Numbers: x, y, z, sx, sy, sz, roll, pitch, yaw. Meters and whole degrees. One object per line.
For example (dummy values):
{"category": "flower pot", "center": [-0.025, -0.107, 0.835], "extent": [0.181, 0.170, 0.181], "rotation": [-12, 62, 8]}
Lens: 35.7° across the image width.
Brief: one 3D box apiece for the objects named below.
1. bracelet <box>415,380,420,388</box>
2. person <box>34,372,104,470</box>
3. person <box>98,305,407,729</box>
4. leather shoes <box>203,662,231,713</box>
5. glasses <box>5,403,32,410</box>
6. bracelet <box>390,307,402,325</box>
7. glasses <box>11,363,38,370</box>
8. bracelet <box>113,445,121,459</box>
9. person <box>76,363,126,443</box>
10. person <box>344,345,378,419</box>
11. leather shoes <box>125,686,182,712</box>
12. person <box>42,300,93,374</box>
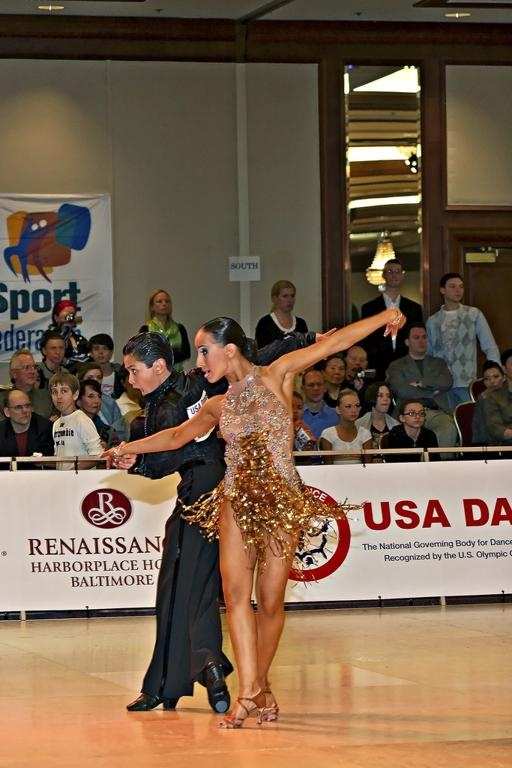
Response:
{"category": "bracelet", "center": [1.528, 0.005, 7.545], "extent": [0.059, 0.071, 0.019], "rotation": [0, -1, 2]}
{"category": "person", "center": [-1.357, 0.255, 6.004], "extent": [0.384, 0.664, 1.062], "rotation": [-1, 4, -13]}
{"category": "person", "center": [-0.019, 0.473, 2.771], "extent": [0.887, 1.424, 0.407], "rotation": [0, 5, 8]}
{"category": "leather shoes", "center": [-0.149, 1.092, 2.925], "extent": [0.088, 0.163, 0.242], "rotation": [-7, -3, -13]}
{"category": "glasses", "center": [-1.767, 0.170, 6.027], "extent": [0.083, 0.053, 0.179], "rotation": [3, 5, 39]}
{"category": "bracelet", "center": [0.526, -0.252, 2.996], "extent": [0.044, 0.051, 0.029], "rotation": [-2, -10, 33]}
{"category": "glasses", "center": [-1.968, -0.150, 6.720], "extent": [0.195, 0.076, 0.166], "rotation": [-2, 4, -21]}
{"category": "bracelet", "center": [-0.517, 0.252, 2.961], "extent": [0.035, 0.041, 0.020], "rotation": [-1, -16, 15]}
{"category": "person", "center": [-1.392, 0.316, 7.190], "extent": [0.248, 0.689, 0.263], "rotation": [-26, 23, -32]}
{"category": "person", "center": [0.989, 0.008, 7.770], "extent": [0.341, 0.733, 0.330], "rotation": [6, 15, 30]}
{"category": "leather shoes", "center": [-0.391, 1.204, 3.035], "extent": [0.220, 0.078, 0.075], "rotation": [6, -6, -15]}
{"category": "person", "center": [-1.858, -0.394, 7.918], "extent": [0.325, 0.790, 0.341], "rotation": [-10, 2, -20]}
